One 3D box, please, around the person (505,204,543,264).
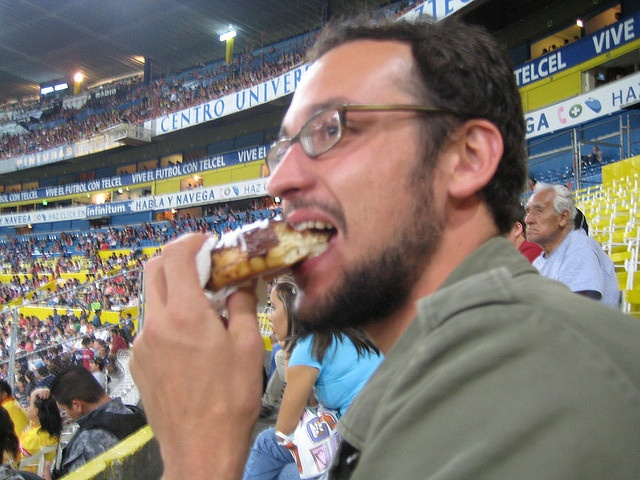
[{"bbox_3d":[3.842,-0.146,14.067,0.554,1.072,0.931,6,-14,1],"label":"person"}]
